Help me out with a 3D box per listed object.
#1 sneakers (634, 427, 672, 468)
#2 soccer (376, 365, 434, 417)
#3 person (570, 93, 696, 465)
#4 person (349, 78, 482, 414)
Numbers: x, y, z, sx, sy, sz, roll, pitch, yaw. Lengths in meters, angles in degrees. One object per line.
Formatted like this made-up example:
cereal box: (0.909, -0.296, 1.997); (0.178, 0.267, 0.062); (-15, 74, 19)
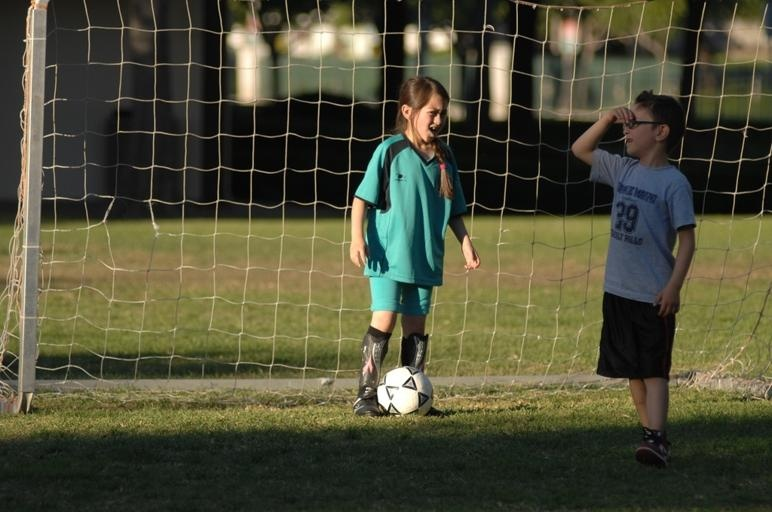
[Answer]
sneakers: (2.230, 1.607, 9.540); (0.279, 0.297, 0.188); (3, 15, 12)
soccer: (0.158, 1.214, 10.360); (0.438, 0.422, 0.408); (26, -5, -25)
person: (2.139, 0.170, 9.659); (0.883, 2.986, 1.137); (-1, 14, -2)
person: (0.211, -0.102, 10.278); (1.146, 2.946, 0.764); (-3, 14, -11)
